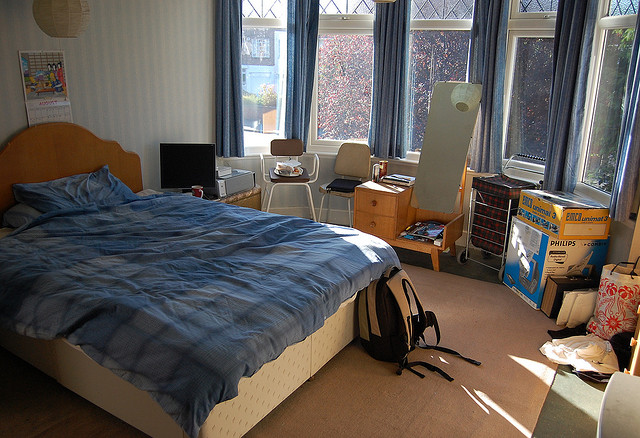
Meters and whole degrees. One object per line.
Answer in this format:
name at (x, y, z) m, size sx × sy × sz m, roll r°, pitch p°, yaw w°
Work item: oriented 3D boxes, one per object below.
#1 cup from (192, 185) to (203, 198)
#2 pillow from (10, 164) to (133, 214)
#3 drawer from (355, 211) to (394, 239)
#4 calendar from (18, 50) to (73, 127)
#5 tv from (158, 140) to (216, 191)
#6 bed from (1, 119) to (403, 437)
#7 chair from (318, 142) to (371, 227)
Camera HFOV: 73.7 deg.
cup at (-1.267, -0.278, 4.476) m, size 0.123 × 0.093 × 0.080 m, roll 15°, pitch 16°, yaw 35°
pillow at (-2.184, -0.253, 3.764) m, size 0.519 × 0.350 × 0.976 m, roll 12°, pitch 19°, yaw 26°
drawer at (0.609, 0.054, 4.654) m, size 0.406 × 0.254 × 0.271 m, roll 7°, pitch 11°, yaw 34°
calendar at (-2.411, -1.159, 3.769) m, size 0.068 × 0.616 × 0.402 m, roll 13°, pitch 23°, yaw 34°
tv at (-1.432, -0.568, 4.607) m, size 0.524 × 0.570 × 0.178 m, roll 0°, pitch 3°, yaw -9°
bed at (-1.171, 0.156, 3.312) m, size 3.011 × 1.618 × 2.139 m, roll 12°, pitch 23°, yaw 31°
chair at (0.310, -0.445, 5.264) m, size 0.437 × 0.945 × 0.528 m, roll 9°, pitch 17°, yaw 27°
